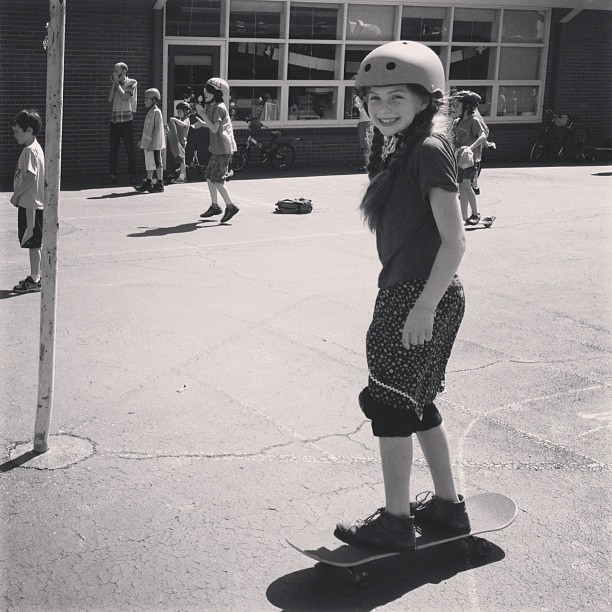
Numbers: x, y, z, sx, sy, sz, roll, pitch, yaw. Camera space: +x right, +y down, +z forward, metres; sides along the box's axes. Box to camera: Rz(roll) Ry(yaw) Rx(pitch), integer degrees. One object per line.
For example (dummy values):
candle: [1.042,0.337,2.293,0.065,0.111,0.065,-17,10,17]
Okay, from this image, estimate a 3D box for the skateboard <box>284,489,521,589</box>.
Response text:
skateboard: [0.472,0.933,2.629,1.136,0.198,0.343,-6,10,-26]

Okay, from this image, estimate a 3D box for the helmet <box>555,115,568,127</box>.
helmet: [8.651,-6.262,21.781,0.310,0.360,0.545,12,16,40]

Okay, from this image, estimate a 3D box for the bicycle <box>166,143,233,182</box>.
bicycle: [-3.034,-3.616,16.181,0.955,0.937,1.511,-1,12,-10]

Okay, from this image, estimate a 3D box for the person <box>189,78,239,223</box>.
person: [-1.506,-2.616,10.871,0.668,2.353,0.764,-1,12,-12]

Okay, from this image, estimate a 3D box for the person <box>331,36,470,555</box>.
person: [0.413,-0.026,2.442,0.527,1.908,0.479,3,12,7]

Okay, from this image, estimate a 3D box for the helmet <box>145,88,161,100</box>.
helmet: [-3.208,-4.420,13.424,0.285,0.220,0.450,-2,13,-15]

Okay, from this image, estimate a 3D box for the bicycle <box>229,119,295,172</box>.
bicycle: [-1.246,-4.441,17.927,2.023,1.340,0.845,-6,21,-24]

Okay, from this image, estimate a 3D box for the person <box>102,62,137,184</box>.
person: [-4.325,-4.261,15.105,0.661,2.685,0.963,-2,12,-16]

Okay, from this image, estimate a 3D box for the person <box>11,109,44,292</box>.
person: [-2.766,-1.020,6.420,0.313,1.820,0.426,-3,13,-22]

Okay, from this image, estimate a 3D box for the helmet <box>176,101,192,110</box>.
helmet: [-2.843,-4.668,15.008,0.353,0.152,0.259,3,18,-3]

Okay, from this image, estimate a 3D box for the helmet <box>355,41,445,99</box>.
helmet: [0.349,-0.893,2.397,0.216,0.181,0.284,15,25,36]

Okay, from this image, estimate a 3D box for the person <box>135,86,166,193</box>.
person: [-3.313,-3.521,13.835,0.546,2.113,0.990,-1,12,-13]
